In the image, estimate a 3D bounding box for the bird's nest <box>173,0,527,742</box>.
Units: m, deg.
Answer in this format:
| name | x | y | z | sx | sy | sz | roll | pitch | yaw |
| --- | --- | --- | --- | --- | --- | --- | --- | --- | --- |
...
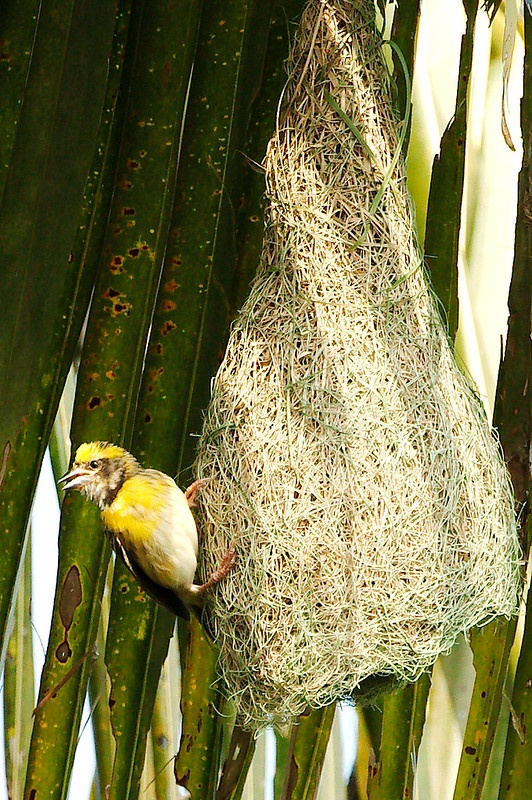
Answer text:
| name | x | y | z | sx | sy | sz | roll | pitch | yaw |
| --- | --- | --- | --- | --- | --- | --- | --- | --- | --- |
| bird's nest | 0.178 | -0.028 | 1.972 | 0.519 | 1.065 | 0.376 | 11 | 9 | -2 |
